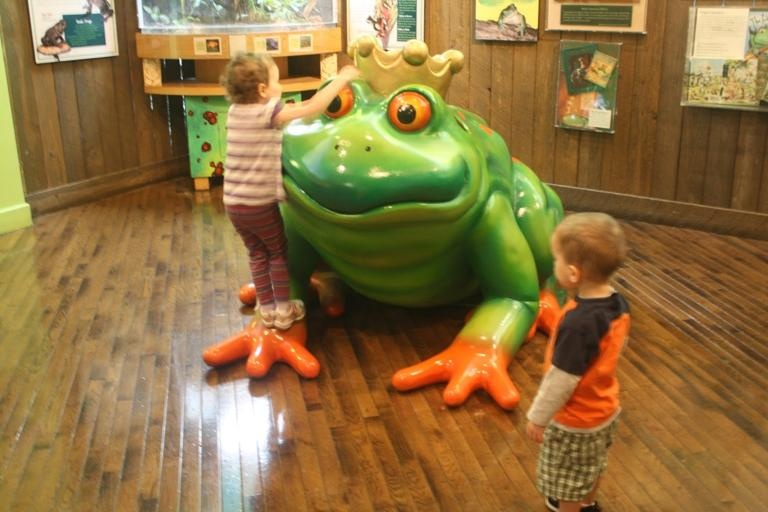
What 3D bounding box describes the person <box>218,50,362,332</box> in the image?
[{"bbox_3d":[-0.415,-0.233,2.219,0.481,1.125,0.253,-2,23,-5],"label":"person"}]
